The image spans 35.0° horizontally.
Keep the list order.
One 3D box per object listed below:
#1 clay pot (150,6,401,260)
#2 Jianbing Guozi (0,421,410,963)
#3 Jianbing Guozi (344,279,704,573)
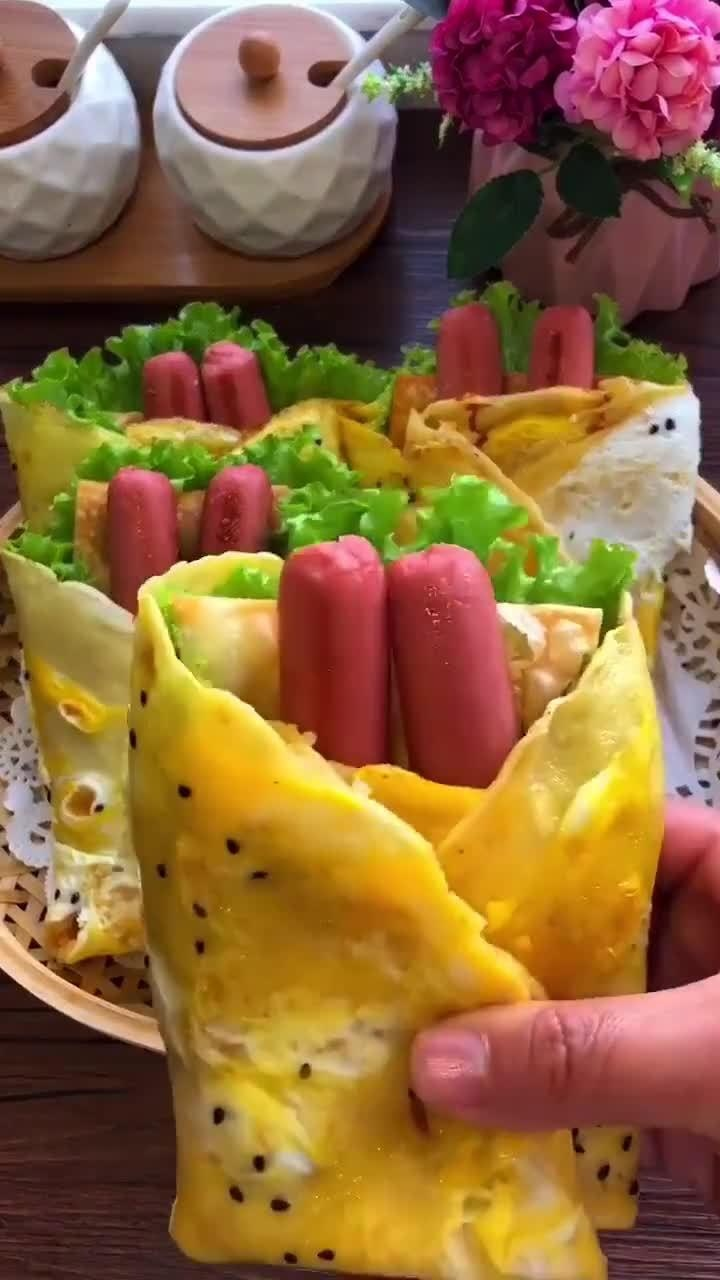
[{"bbox_3d":[-0.064,-0.365,0.897,0.184,0.155,0.174,0,83,-2],"label":"clay pot"},{"bbox_3d":[-0.136,0.051,0.771,0.255,0.076,0.249,-4,97,6],"label":"Jianbing Guozi"},{"bbox_3d":[0.117,-0.148,0.826,0.235,0.077,0.193,30,87,3],"label":"Jianbing Guozi"}]
